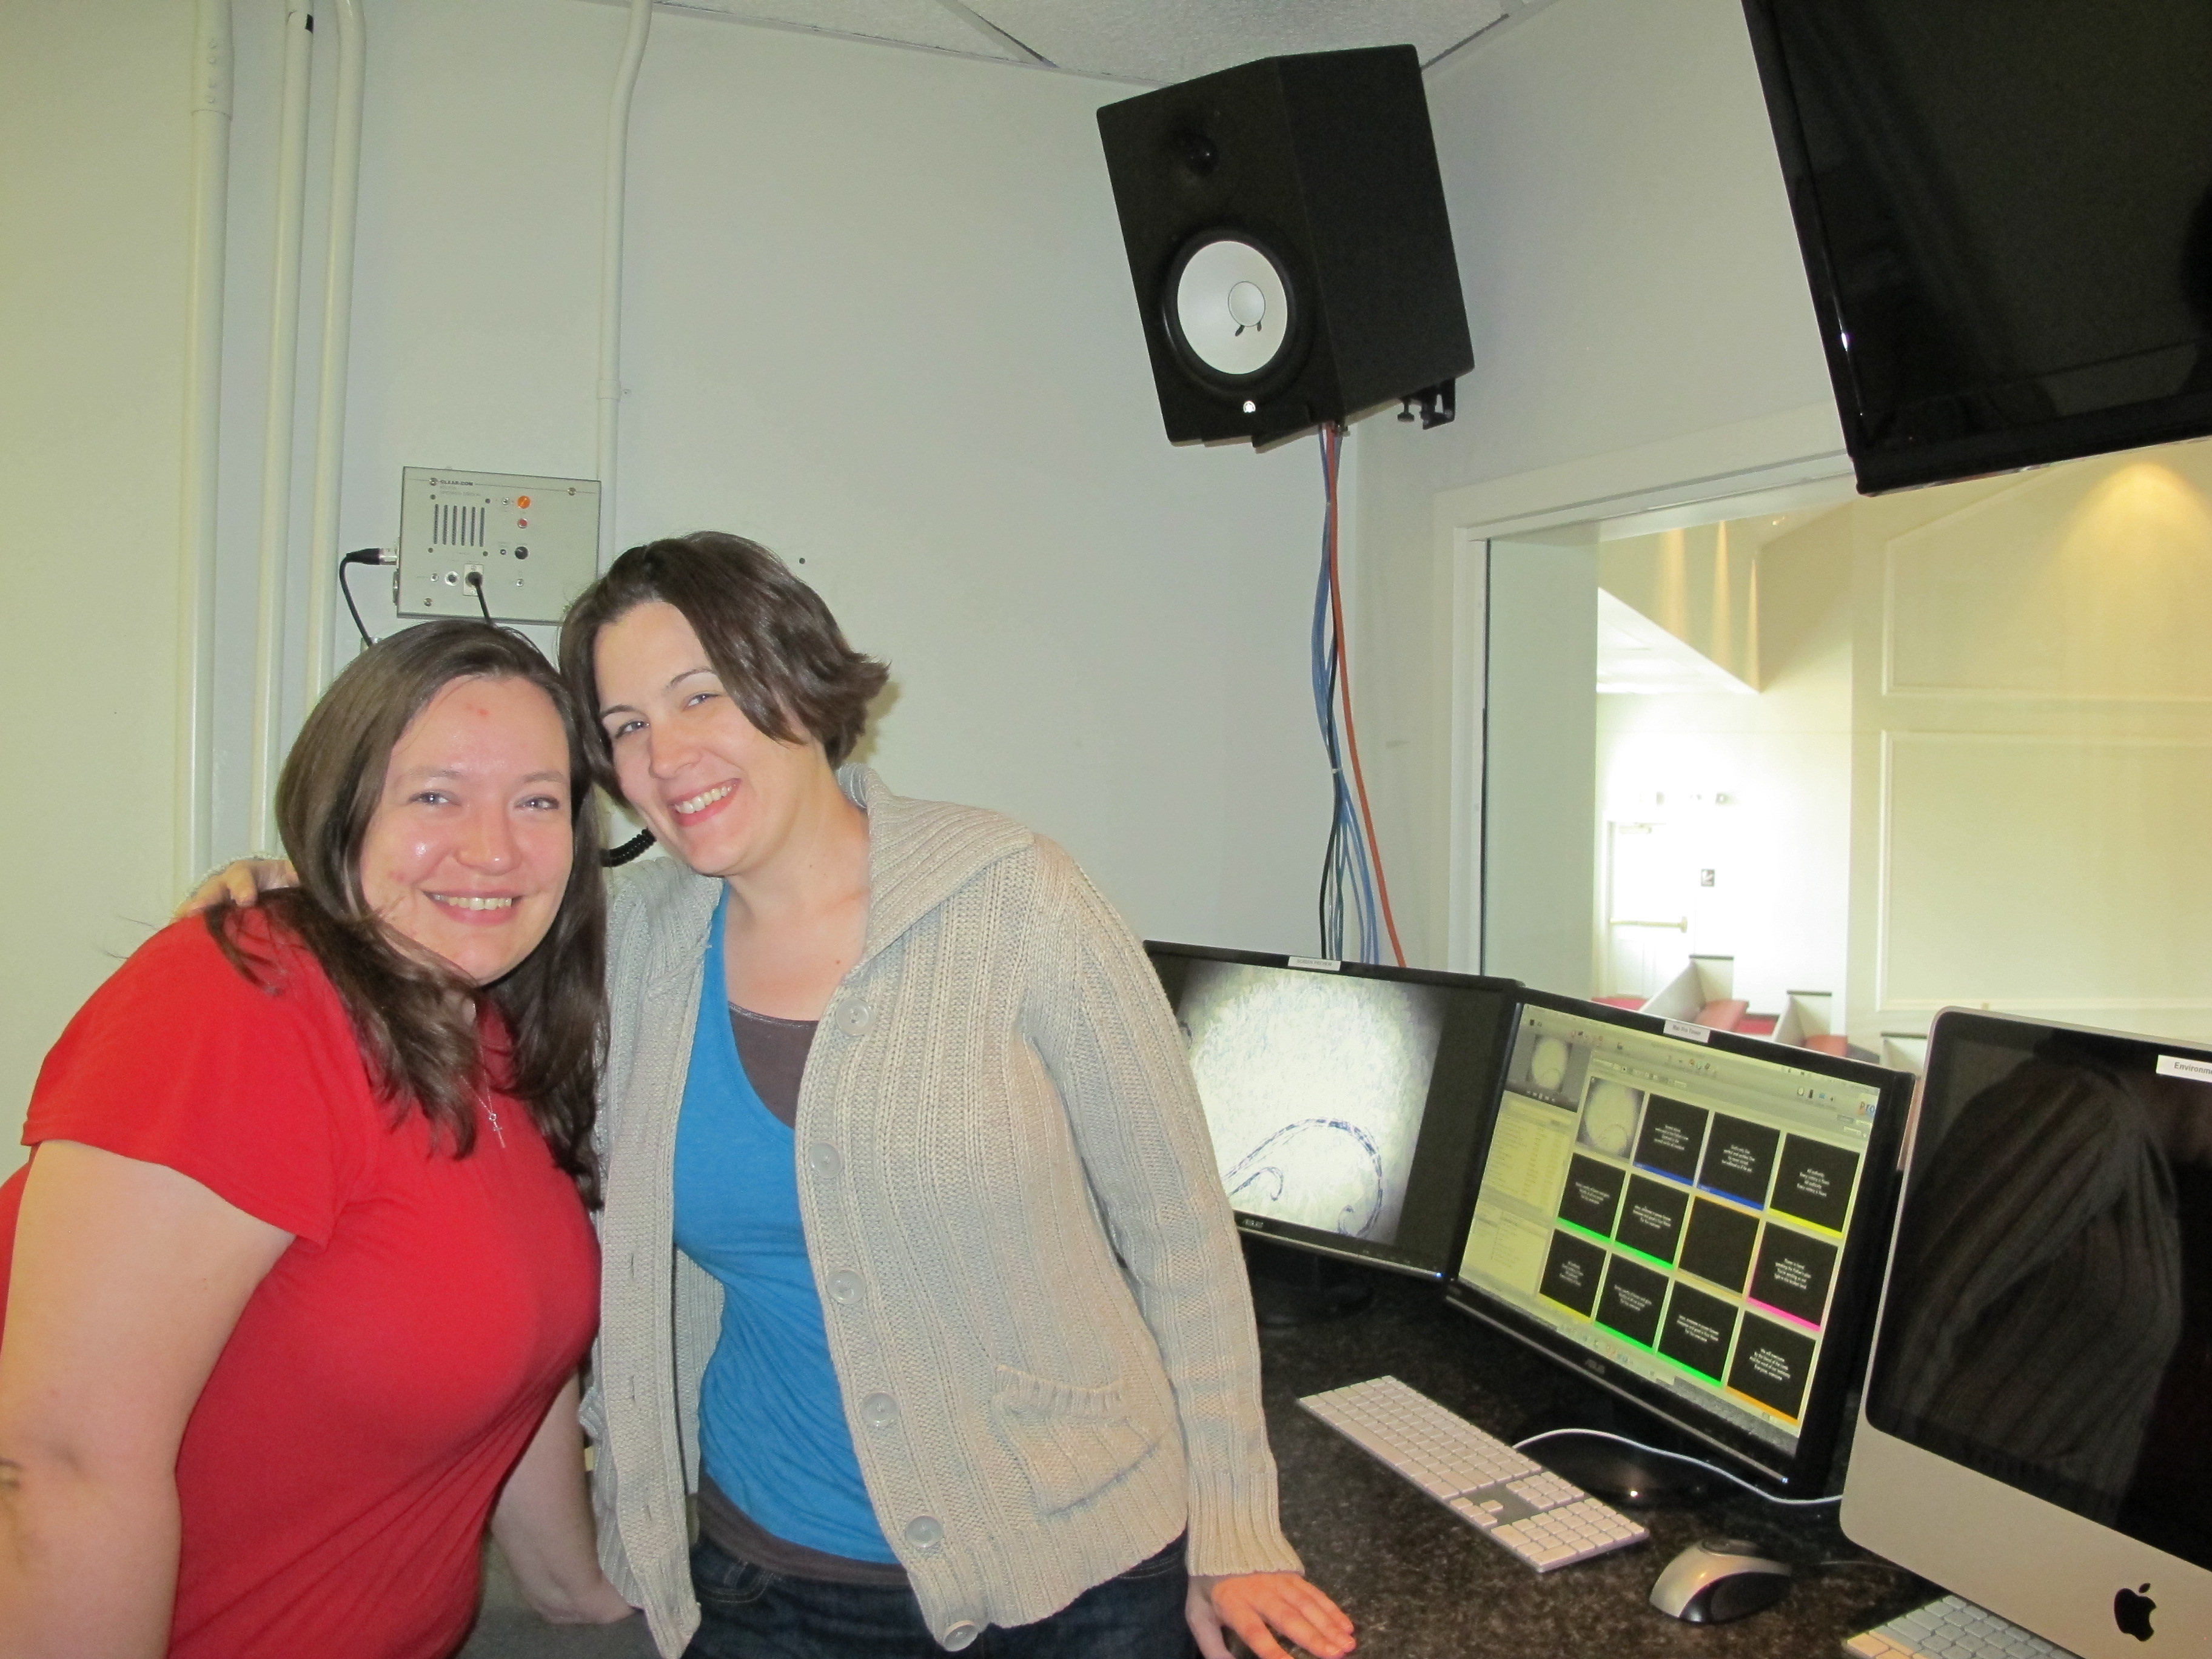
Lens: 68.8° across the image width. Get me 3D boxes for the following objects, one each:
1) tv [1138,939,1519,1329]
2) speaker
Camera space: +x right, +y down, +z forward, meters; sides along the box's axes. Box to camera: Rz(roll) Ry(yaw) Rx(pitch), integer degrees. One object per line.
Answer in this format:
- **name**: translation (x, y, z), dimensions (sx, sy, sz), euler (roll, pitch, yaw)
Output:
- **tv**: translation (0.299, 0.412, 2.092), dimensions (0.463, 0.361, 0.141), euler (0, -13, 35)
- **speaker**: translation (0.279, -0.919, 2.597), dimensions (0.312, 0.602, 0.416), euler (-31, 28, -29)
